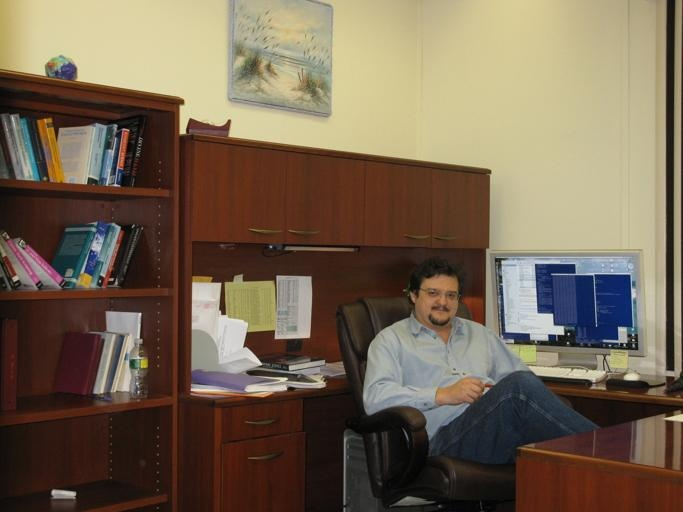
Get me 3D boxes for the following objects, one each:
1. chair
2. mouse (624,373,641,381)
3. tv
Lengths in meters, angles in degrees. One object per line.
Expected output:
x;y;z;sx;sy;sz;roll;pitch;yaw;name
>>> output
0.519;0.687;2.712;0.755;1.233;0.954;4;-16;-29;chair
1.417;0.589;2.659;0.042;0.023;0.044;1;2;17;mouse
1.254;0.287;2.958;0.608;0.477;0.166;0;0;26;tv
